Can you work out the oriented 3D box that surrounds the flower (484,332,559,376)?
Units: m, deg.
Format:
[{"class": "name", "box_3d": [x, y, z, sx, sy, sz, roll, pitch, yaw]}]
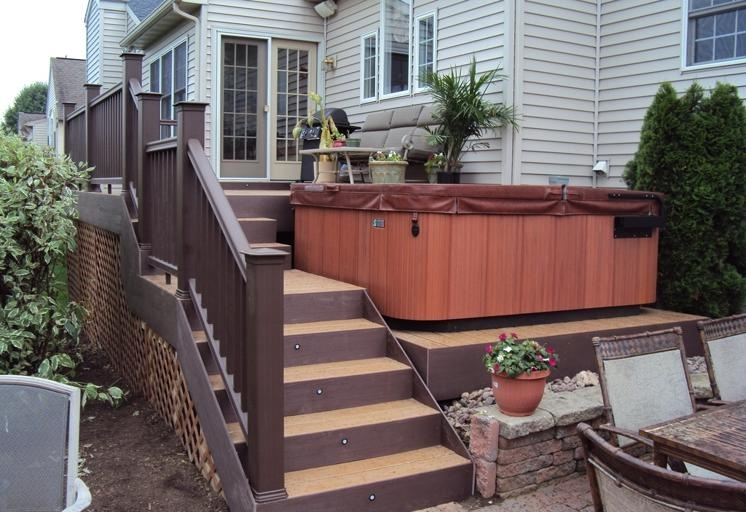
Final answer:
[{"class": "flower", "box_3d": [1.157, 0.782, 4.147, 0.506, 0.253, 0.546, 8, 7, 6]}]

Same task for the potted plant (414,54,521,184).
[{"class": "potted plant", "box_3d": [0.970, -1.523, 6.395, 1.042, 1.294, 1.226, -2, 13, -22]}]

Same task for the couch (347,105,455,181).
[{"class": "couch", "box_3d": [0.210, -1.566, 7.756, 0.961, 1.248, 1.767, -6, 12, -40]}]

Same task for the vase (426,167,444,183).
[{"class": "vase", "box_3d": [0.729, -0.985, 6.540, 0.201, 0.157, 0.205, 0, -1, 6]}]

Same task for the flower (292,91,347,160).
[{"class": "flower", "box_3d": [-0.694, -1.893, 7.364, 0.707, 0.842, 0.502, -8, 36, -11]}]

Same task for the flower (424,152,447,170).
[{"class": "flower", "box_3d": [0.783, -1.174, 6.617, 0.215, 0.136, 0.219, -2, 8, 7]}]

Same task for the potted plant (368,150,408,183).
[{"class": "potted plant", "box_3d": [0.175, -1.008, 6.268, 0.451, 0.324, 0.428, -1, 8, -5]}]

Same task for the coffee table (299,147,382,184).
[{"class": "coffee table", "box_3d": [-0.602, -1.238, 7.190, 0.609, 0.272, 0.590, -5, 24, -14]}]
